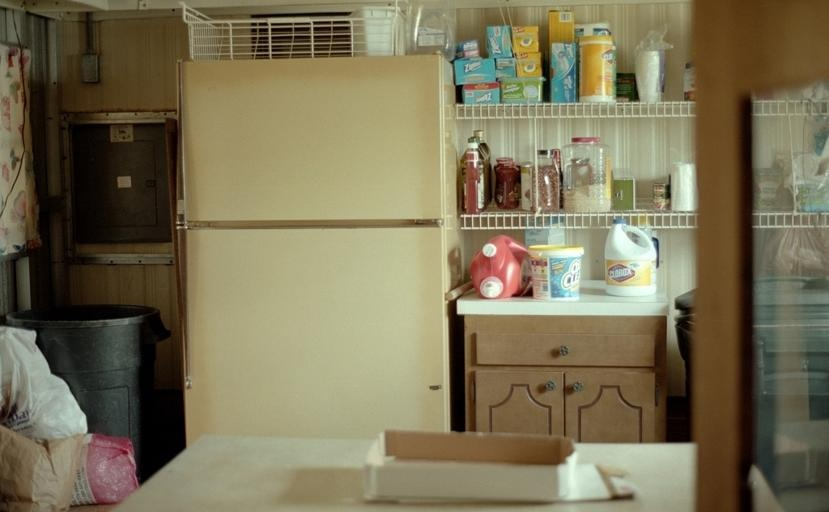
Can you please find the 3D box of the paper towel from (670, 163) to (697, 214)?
[{"bbox_3d":[1.160,-0.301,3.251,0.090,0.206,0.254,-1,7,15],"label":"paper towel"}]

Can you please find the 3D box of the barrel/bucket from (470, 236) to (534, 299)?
[{"bbox_3d":[0.359,0.046,3.136,0.232,0.247,0.122,-8,8,-36],"label":"barrel/bucket"}]

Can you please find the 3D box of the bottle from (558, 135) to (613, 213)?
[{"bbox_3d":[0.761,-0.348,3.299,0.207,0.291,0.310,-1,7,14],"label":"bottle"}]

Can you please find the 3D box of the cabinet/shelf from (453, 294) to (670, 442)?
[{"bbox_3d":[0.560,0.380,3.254,0.983,0.962,0.533,0,-2,9],"label":"cabinet/shelf"}]

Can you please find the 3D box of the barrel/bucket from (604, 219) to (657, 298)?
[{"bbox_3d":[0.877,0.004,3.044,0.190,0.313,0.095,-1,6,10],"label":"barrel/bucket"}]

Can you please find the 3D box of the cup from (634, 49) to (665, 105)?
[{"bbox_3d":[1.001,-0.760,3.186,0.110,0.227,0.164,-1,7,13],"label":"cup"}]

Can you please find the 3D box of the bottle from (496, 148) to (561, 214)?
[{"bbox_3d":[0.532,-0.343,3.396,0.307,0.266,0.277,3,11,23],"label":"bottle"}]

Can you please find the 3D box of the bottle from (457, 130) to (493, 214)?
[{"bbox_3d":[0.272,-0.383,3.347,0.152,0.358,0.394,-2,7,6],"label":"bottle"}]
